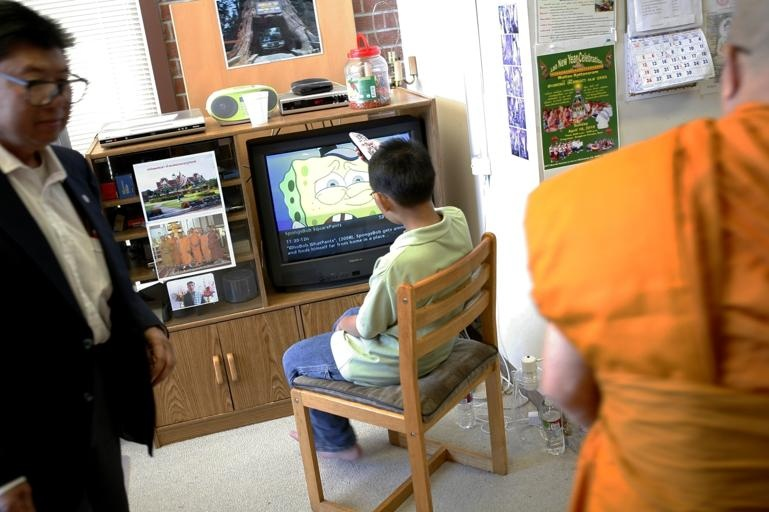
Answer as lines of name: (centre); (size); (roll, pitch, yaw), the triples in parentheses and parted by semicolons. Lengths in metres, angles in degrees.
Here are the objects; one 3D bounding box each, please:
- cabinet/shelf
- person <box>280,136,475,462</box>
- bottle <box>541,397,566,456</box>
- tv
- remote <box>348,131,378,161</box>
cabinet/shelf: (-0.536, 0.074, 2.591); (1.508, 1.410, 0.527); (-14, 18, -14)
person: (-0.048, 0.273, 2.380); (0.768, 1.443, 0.554); (1, 16, 37)
bottle: (0.793, 0.788, 2.641); (0.077, 0.279, 0.086); (-1, 8, 9)
tv: (-0.220, -0.260, 2.721); (0.752, 0.694, 0.389); (-12, 19, -9)
remote: (-0.090, -0.518, 2.589); (0.079, 0.037, 0.261); (-14, 38, -12)
